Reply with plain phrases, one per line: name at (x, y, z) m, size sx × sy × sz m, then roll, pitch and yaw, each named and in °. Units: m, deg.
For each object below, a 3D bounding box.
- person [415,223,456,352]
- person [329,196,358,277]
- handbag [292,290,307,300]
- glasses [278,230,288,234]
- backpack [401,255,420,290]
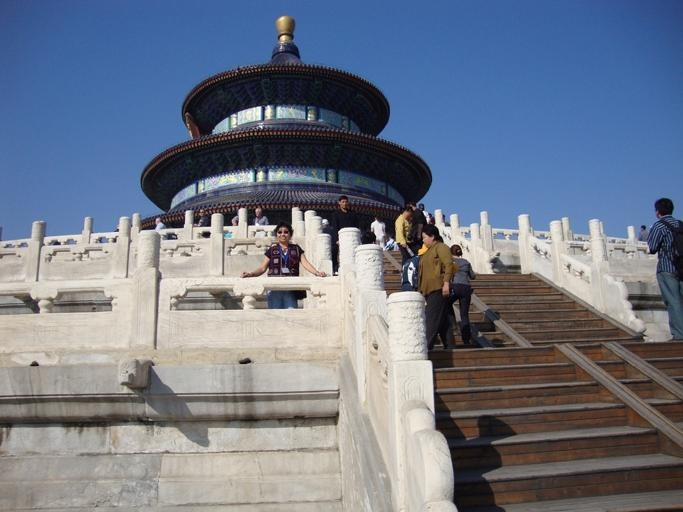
person at (1.411, 0.407, 8.434) m, size 0.549 × 1.885 × 0.820 m, roll -4°, pitch -8°, yaw 7°
person at (0.013, -0.504, 12.560) m, size 0.548 × 1.710 × 0.838 m, roll 1°, pitch -9°, yaw -26°
handbag at (-0.686, 0.625, 9.365) m, size 0.176 × 0.172 × 0.181 m, roll -3°, pitch -4°, yaw 25°
glasses at (-0.915, -0.381, 9.044) m, size 0.159 × 0.081 × 0.068 m, roll -2°, pitch -8°, yaw -6°
backpack at (1.137, 0.282, 9.342) m, size 0.283 × 0.532 × 0.388 m, roll 11°, pitch -32°, yaw -6°
